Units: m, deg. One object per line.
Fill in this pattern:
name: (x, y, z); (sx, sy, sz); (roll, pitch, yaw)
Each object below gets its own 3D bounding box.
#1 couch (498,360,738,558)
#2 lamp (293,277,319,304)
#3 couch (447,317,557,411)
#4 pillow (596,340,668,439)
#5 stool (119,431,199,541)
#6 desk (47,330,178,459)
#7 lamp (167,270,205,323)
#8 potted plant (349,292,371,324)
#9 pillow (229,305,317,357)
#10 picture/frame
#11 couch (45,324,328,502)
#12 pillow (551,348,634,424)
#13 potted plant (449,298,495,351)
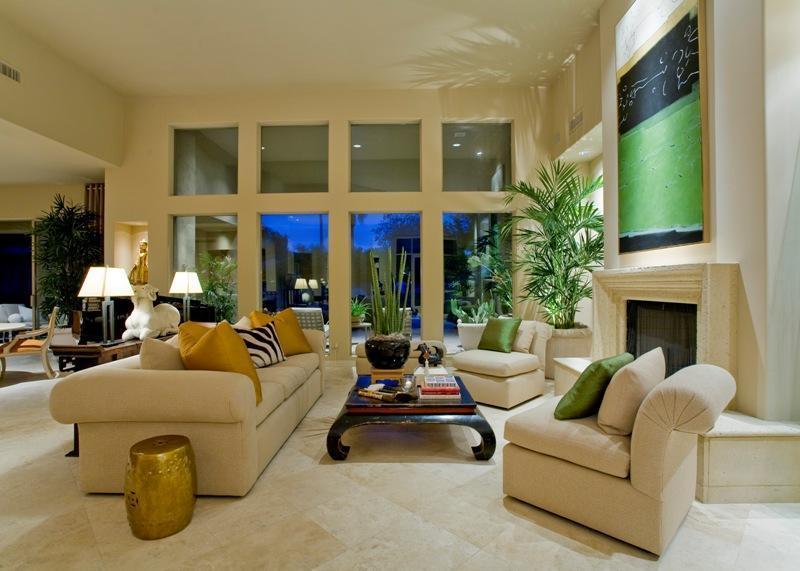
couch: (1.732, 1.242, 4.363); (1.495, 1.516, 1.129); (0, -1, 40)
lamp: (-1.379, 0.017, 8.177); (0.436, 0.463, 0.303); (1, 5, 12)
couch: (1.133, 0.854, 6.199); (1.109, 0.854, 1.131); (-3, 5, -15)
pillow: (1.718, 0.834, 4.184); (0.327, 0.503, 0.637); (1, -2, 33)
stool: (-1.801, 1.490, 4.076); (0.435, 0.600, 0.603); (3, 1, 1)
desk: (-3.588, 1.542, 7.096); (0.619, 1.238, 2.494); (6, -14, 3)
lamp: (-2.951, 0.188, 7.551); (0.411, 0.774, 0.425); (0, 2, -6)
potted plant: (-0.597, 0.324, 7.880); (0.397, 0.421, 0.416); (1, -3, 2)
pillow: (-1.422, 0.562, 6.063); (0.181, 0.618, 0.578); (-35, -17, 30)
picture/frame: (2.452, -1.439, 5.153); (0.209, 2.200, 1.080); (-3, 2, -10)
couch: (-1.614, 1.023, 4.534); (2.157, 1.233, 1.204); (-3, 2, -35)
pillow: (1.521, 0.783, 4.346); (0.358, 0.455, 0.632); (-3, 6, 35)
potted plant: (1.058, 0.636, 7.879); (0.444, 0.581, 0.472); (1, 3, 3)
